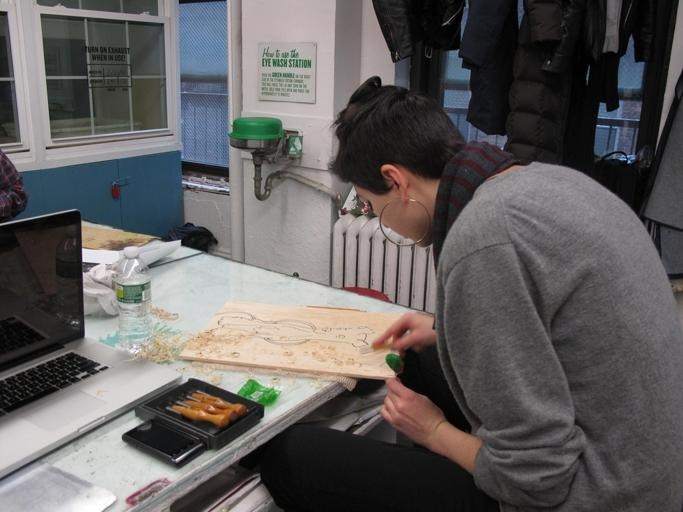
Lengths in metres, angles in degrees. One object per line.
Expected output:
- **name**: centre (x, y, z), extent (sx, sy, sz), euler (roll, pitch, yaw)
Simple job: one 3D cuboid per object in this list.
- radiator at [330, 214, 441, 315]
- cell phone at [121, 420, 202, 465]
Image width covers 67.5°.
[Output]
- **radiator**: centre (0.210, 0.039, 2.306), extent (0.487, 0.570, 0.176), euler (7, 14, 25)
- **cell phone**: centre (-0.365, 0.381, 1.052), extent (0.131, 0.021, 0.071), euler (13, 18, 29)
